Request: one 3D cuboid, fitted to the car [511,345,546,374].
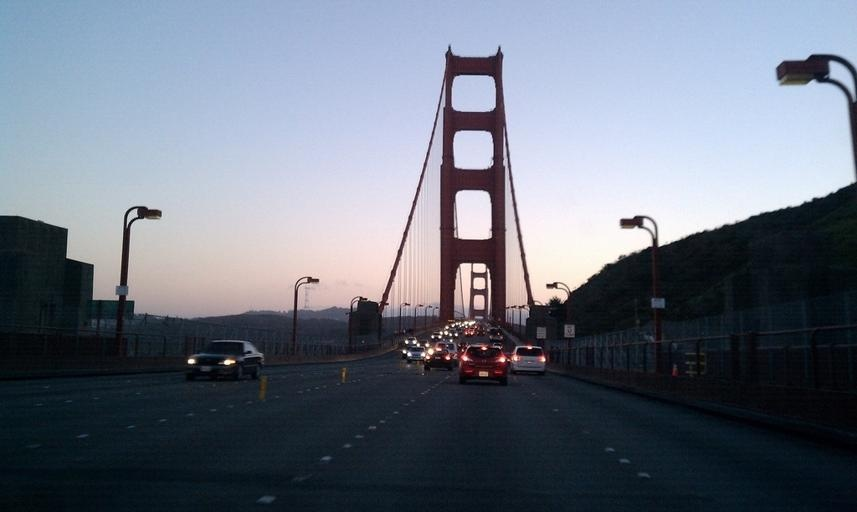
[{"bbox_3d":[6.663,7.049,46.951,2.047,1.994,2.522,-1,-10,-1],"label":"car"}]

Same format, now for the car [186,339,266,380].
[{"bbox_3d":[-10.019,5.116,34.016,1.792,1.905,3.918,-4,-11,16],"label":"car"}]
